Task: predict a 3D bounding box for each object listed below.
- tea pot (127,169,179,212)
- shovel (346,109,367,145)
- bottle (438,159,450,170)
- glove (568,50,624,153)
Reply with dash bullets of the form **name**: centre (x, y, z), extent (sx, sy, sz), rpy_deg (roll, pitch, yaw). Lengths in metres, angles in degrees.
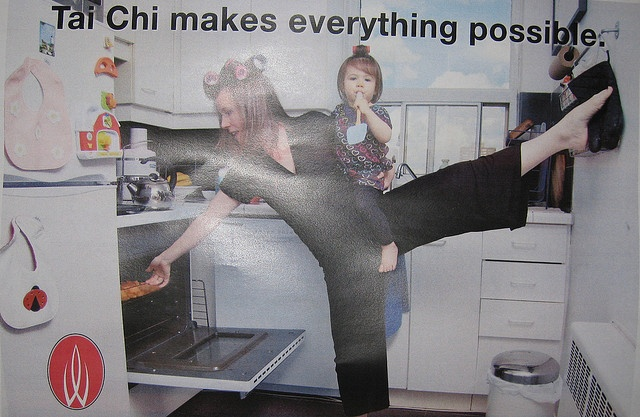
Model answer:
- **tea pot**: centre (-0.668, -0.070, 1.909), extent (0.162, 0.158, 0.225), rpy_deg (-4, -2, 24)
- **shovel**: centre (0.131, -0.298, 1.753), extent (0.073, 0.123, 0.125), rpy_deg (-4, -1, 0)
- **bottle**: centre (0.456, -0.166, 1.799), extent (0.031, 0.028, 0.030), rpy_deg (0, 2, -1)
- **glove**: centre (0.980, -0.387, 1.747), extent (0.208, 0.369, 0.075), rpy_deg (-2, 10, -12)
